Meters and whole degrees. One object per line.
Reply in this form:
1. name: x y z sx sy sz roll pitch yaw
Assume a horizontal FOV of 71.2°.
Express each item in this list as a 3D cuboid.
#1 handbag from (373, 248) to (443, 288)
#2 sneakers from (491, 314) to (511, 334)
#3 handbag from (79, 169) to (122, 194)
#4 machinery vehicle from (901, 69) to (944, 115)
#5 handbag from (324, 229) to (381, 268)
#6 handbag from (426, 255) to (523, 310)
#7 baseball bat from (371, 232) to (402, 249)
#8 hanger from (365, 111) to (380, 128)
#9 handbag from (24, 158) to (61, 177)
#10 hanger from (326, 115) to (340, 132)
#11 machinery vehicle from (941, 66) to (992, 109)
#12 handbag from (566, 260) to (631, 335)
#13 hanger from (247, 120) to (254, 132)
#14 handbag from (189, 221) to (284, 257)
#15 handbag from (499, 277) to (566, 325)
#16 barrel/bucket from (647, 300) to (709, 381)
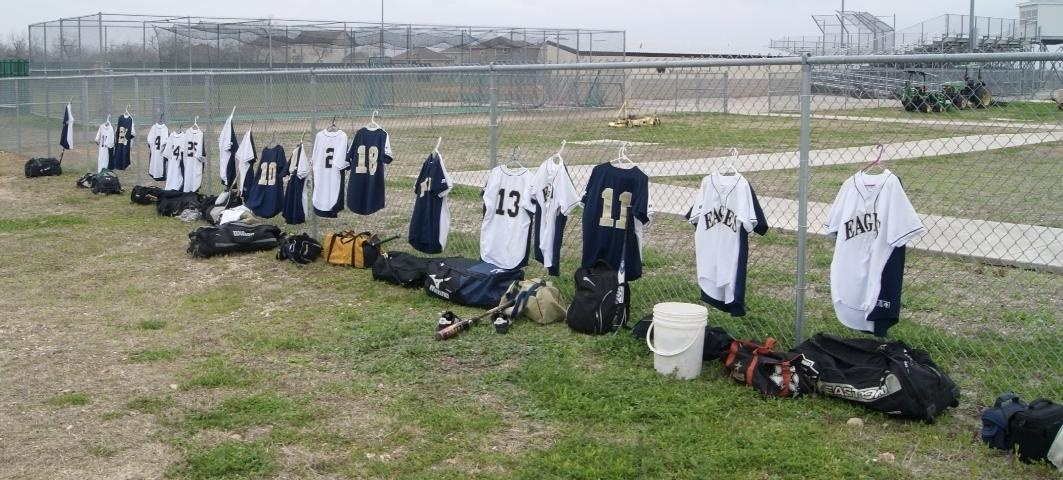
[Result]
1. handbag: -2.433 0.536 15.960 1.702 0.484 1.130 10 29 26
2. sneakers: -0.567 1.611 14.266 0.304 0.218 0.433 0 1 -6
3. handbag: -13.119 -1.755 22.814 1.048 0.479 1.257 -6 10 -43
4. machinery vehicle: 9.442 -3.485 17.823 1.834 0.785 0.562 -5 19 -35
5. handbag: -4.025 0.224 16.620 1.317 0.727 0.432 5 13 21
6. handbag: -1.277 0.847 15.510 2.342 0.706 1.458 12 12 40
7. baseball bat: -3.318 0.023 17.030 0.962 0.138 0.174 -13 54 -24
8. hanger: -3.541 -2.692 16.628 0.555 0.342 0.014 8 10 21
9. handbag: -16.485 -2.448 25.154 0.890 0.521 0.895 1 5 31
10. hanger: -4.548 -2.688 17.163 0.015 0.522 0.549 3 5 -36
11. machinery vehicle: 8.352 -2.994 14.517 1.427 0.744 0.766 -15 25 -36
12. handbag: 1.309 1.123 14.061 1.679 1.440 0.974 2 5 32
13. hanger: -7.067 -2.891 18.839 0.210 0.263 0.608 -3 11 -20
14. handbag: -6.996 -0.061 17.597 2.154 0.594 1.055 -6 13 -22
15. handbag: 0.021 1.214 14.496 1.065 0.581 0.968 -3 8 -29
16. barrel/bucket: 2.646 1.765 13.482 1.496 1.145 1.258 -2 6 -20
